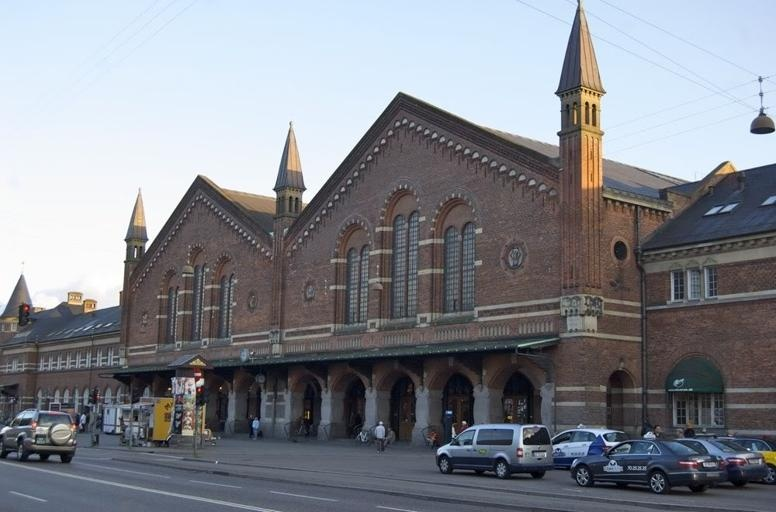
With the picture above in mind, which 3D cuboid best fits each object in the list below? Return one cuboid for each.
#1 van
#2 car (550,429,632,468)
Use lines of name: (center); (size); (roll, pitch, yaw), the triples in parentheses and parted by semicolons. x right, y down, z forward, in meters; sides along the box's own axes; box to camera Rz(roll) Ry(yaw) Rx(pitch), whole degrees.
van: (4.864, 8.776, 40.902); (2.570, 2.393, 5.897); (6, -9, -38)
car: (9.291, 9.071, 43.047); (1.876, 1.299, 3.990); (7, -12, -37)
